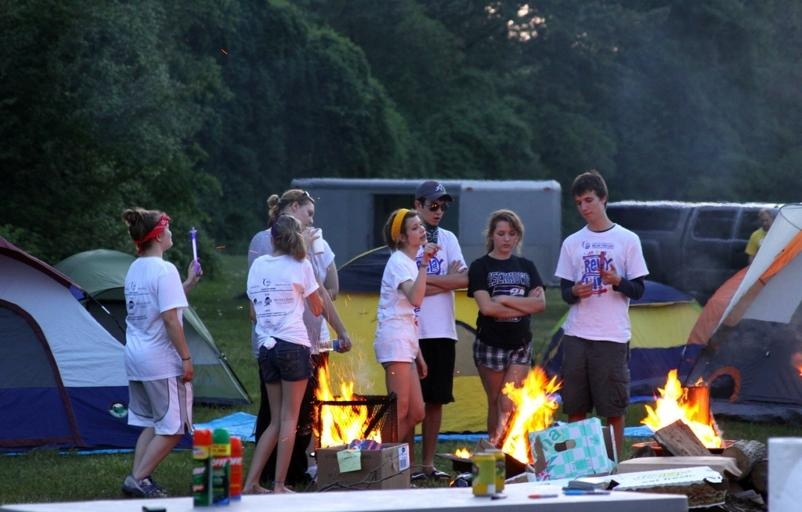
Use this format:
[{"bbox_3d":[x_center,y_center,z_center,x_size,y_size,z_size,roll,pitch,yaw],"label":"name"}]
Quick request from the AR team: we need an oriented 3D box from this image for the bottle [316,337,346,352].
[{"bbox_3d":[-1.136,1.508,23.748,0.465,0.306,0.399,1,14,4],"label":"bottle"}]

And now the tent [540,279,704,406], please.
[{"bbox_3d":[4.413,1.561,26.660,2.369,1.632,2.422,-3,7,-19],"label":"tent"}]

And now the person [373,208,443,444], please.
[{"bbox_3d":[0.037,1.198,23.558,0.895,3.776,1.141,0,13,0],"label":"person"}]

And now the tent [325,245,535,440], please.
[{"bbox_3d":[0.173,1.662,26.512,2.953,3.117,3.111,1,-4,-1],"label":"tent"}]

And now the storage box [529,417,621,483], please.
[{"bbox_3d":[2.856,3.350,23.018,1.058,0.753,1.087,-17,-9,35],"label":"storage box"}]

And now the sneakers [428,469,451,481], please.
[{"bbox_3d":[0.662,3.707,23.645,0.386,0.154,0.165,0,-2,9],"label":"sneakers"}]

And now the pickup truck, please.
[{"bbox_3d":[6.477,-0.134,31.426,3.184,1.797,1.980,-1,3,18],"label":"pickup truck"}]
